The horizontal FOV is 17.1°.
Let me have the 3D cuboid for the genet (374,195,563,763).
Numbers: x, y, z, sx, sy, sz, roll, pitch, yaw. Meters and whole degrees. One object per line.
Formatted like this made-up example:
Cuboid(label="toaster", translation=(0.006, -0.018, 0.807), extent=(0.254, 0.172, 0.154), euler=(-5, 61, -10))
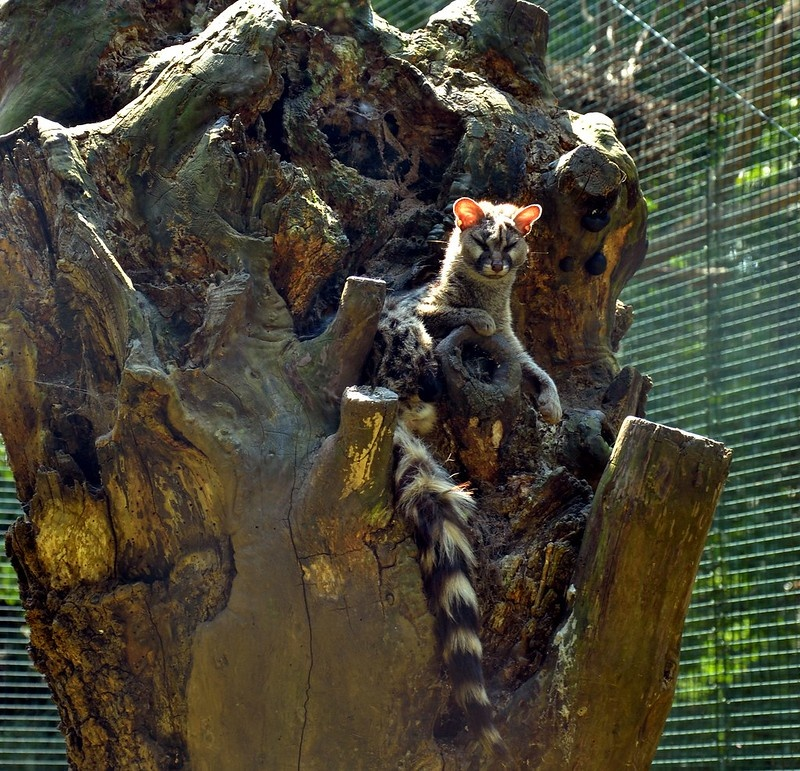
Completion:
Cuboid(label="genet", translation=(0.272, 0.386, 14.128), extent=(0.975, 3.473, 0.818), euler=(3, -11, 16))
